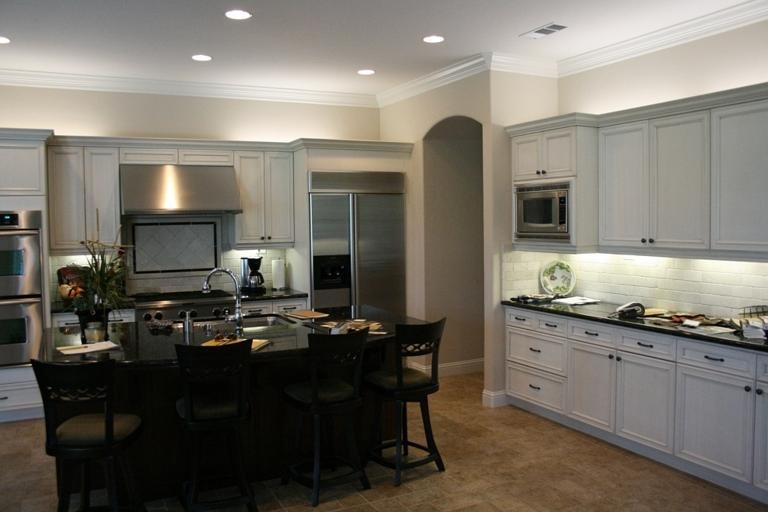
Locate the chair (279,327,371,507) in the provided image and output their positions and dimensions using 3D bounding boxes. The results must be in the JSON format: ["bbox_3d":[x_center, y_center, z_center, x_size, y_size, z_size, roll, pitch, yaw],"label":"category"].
[{"bbox_3d":[-0.503,1.287,4.511,0.717,1.439,0.563,-3,10,-15],"label":"chair"}]

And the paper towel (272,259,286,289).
[{"bbox_3d":[-1.442,0.256,7.336,0.192,0.394,0.249,-2,9,-10],"label":"paper towel"}]

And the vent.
[{"bbox_3d":[-2.585,-0.860,6.867,1.431,0.618,0.741,-2,6,-19],"label":"vent"}]

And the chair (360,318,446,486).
[{"bbox_3d":[0.222,1.228,4.854,0.804,1.441,0.648,-5,10,-25],"label":"chair"}]

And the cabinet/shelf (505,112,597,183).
[{"bbox_3d":[1.769,-1.154,5.810,0.865,0.653,0.250,9,13,44],"label":"cabinet/shelf"}]

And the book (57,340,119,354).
[{"bbox_3d":[-2.416,0.753,4.362,0.490,0.031,0.281,-3,10,-16],"label":"book"}]

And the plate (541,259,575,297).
[{"bbox_3d":[2.012,0.275,6.193,0.353,0.379,0.173,1,9,10],"label":"plate"}]
